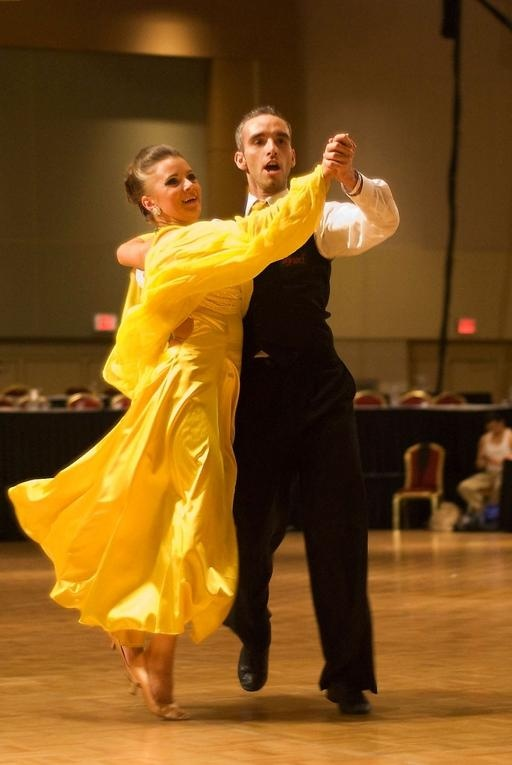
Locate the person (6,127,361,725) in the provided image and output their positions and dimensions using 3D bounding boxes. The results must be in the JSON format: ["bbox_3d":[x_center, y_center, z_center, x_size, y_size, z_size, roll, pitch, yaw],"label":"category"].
[{"bbox_3d":[-0.187,-0.002,1.749,0.439,1.000,0.597,-3,8,-39],"label":"person"}]

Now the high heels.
[{"bbox_3d":[-0.226,0.611,1.747,0.126,0.195,0.267,1,6,-11],"label":"high heels"}]

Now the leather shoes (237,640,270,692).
[{"bbox_3d":[-0.010,0.667,1.911,0.051,0.125,0.055,2,-31,0],"label":"leather shoes"}]

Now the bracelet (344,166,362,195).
[{"bbox_3d":[0.188,-0.393,1.615,0.044,0.050,0.038,2,-20,18],"label":"bracelet"}]
